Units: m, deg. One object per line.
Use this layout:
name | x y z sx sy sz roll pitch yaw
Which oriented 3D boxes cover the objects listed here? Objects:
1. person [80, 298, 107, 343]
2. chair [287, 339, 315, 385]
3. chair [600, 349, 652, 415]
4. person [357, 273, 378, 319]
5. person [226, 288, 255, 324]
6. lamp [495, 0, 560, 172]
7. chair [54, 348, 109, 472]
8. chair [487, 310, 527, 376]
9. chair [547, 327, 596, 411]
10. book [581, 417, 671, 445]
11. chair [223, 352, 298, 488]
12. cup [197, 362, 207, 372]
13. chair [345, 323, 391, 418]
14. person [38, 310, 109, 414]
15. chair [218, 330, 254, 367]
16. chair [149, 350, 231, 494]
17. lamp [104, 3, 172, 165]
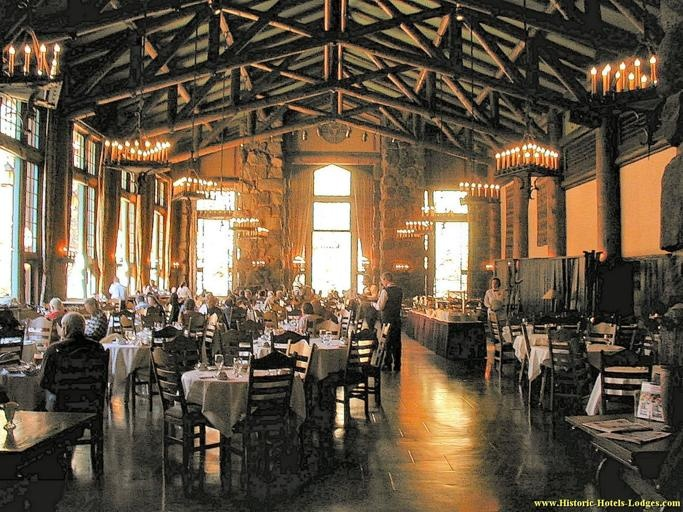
person | -3.695 1.006 11.521 0.459 0.739 0.463 -1 -15 -26
chair | -0.497 1.297 9.931 0.384 0.710 0.442 -5 -9 36
chair | 3.494 1.625 9.351 0.517 0.675 0.975 -15 -2 23
person | 0.808 1.266 22.672 0.501 1.751 0.522 -2 31 -3
person | -2.253 1.145 17.118 0.694 0.681 1.327 1 2 -1
lamp | 3.375 -3.040 13.634 1.080 3.197 2.511 4 8 13
chair | -2.839 1.670 8.464 0.563 1.386 0.447 -1 8 -20
chair | 2.995 1.636 14.313 0.888 1.639 0.878 0 -1 5
chair | 3.401 1.687 11.221 0.818 1.205 0.774 6 -2 -16
book | 2.426 1.460 6.572 0.555 0.086 0.546 0 8 -17
chair | -0.837 1.680 8.838 0.683 1.330 0.712 5 7 28
cup | -1.665 1.323 9.331 0.087 0.072 0.091 0 -7 0
chair | 0.416 1.794 11.350 0.726 1.072 0.682 24 -20 -25
person | -3.041 1.219 8.756 0.691 1.296 0.625 5 17 -12
chair | -1.468 1.278 10.867 0.468 0.709 0.446 1 -1 -2
chair | -1.774 1.745 9.034 0.650 1.398 0.796 1 4 42
lamp | -3.948 -3.331 14.537 1.293 3.450 1.347 -3 3 -8
